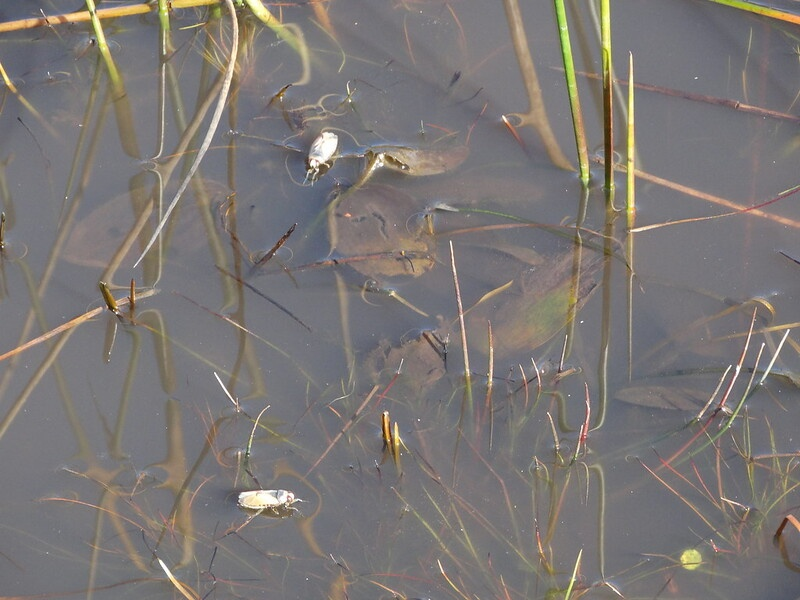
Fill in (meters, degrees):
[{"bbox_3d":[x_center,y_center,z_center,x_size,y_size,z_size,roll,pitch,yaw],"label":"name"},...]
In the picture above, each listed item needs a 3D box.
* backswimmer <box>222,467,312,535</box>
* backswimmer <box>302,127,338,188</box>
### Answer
[{"bbox_3d":[-0.486,0.739,3.362,0.178,0.058,0.193,-5,51,3],"label":"backswimmer"},{"bbox_3d":[-0.318,-0.585,3.789,0.133,0.201,0.058,26,-6,12],"label":"backswimmer"}]
